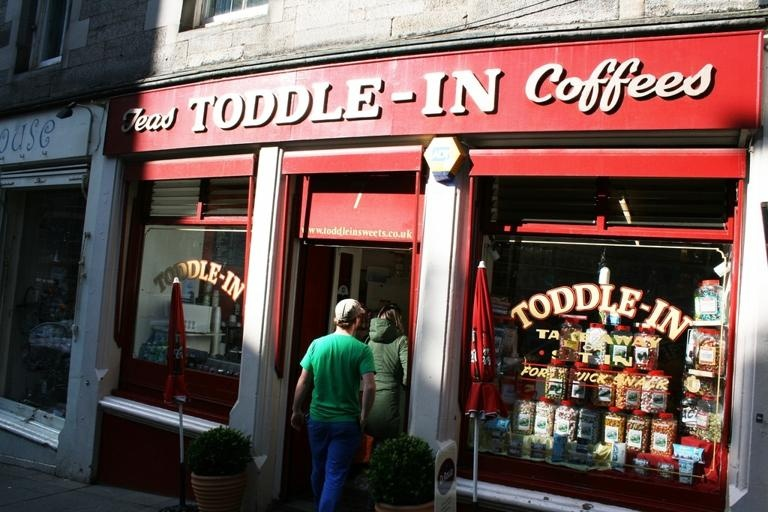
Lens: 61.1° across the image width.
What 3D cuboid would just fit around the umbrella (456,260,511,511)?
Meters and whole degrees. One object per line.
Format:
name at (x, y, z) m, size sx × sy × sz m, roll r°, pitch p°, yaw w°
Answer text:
umbrella at (1.058, 1.314, 6.775) m, size 0.441 × 2.558 × 0.736 m, roll 5°, pitch -6°, yaw 9°

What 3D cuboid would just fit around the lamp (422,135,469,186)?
lamp at (0.704, -1.072, 7.218) m, size 0.556 × 0.509 × 0.168 m, roll 0°, pitch -3°, yaw 40°
